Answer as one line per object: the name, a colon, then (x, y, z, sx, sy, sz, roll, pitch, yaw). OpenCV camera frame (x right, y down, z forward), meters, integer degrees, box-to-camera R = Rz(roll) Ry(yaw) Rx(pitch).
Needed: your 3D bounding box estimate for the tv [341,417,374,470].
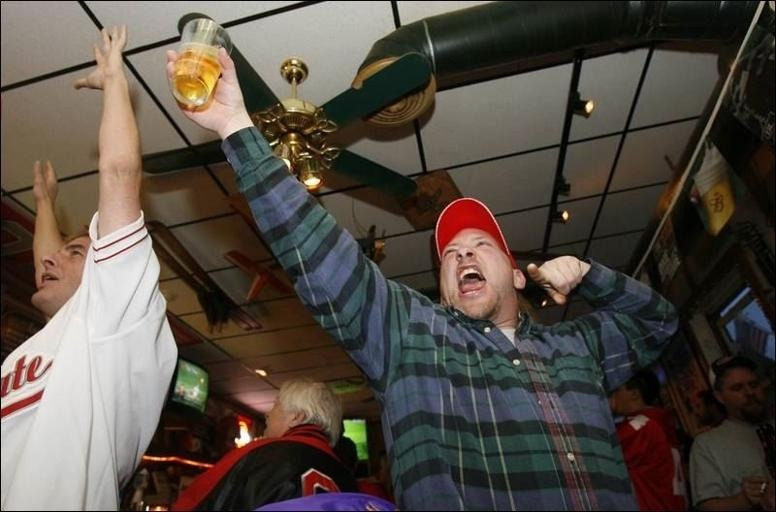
tv: (-0.159, 0.955, 2.636, 0.053, 0.223, 0.238, 12, -14, -43)

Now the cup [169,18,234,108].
cup: (-0.650, -0.686, 1.750, 0.164, 0.411, 0.160, -2, -37, -1)

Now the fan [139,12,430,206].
fan: (-0.528, -0.966, 3.135, 1.119, 0.578, 1.196, -6, -43, 2)

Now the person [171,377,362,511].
person: (-0.560, 0.875, 2.340, 0.297, 0.403, 0.832, -30, -10, 9)

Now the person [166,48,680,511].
person: (0.252, 0.243, 1.875, 1.933, 1.293, 0.474, 14, -40, -22)

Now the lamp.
lamp: (-0.563, -0.568, 2.945, 0.422, 0.318, 0.362, 2, -67, -12)
